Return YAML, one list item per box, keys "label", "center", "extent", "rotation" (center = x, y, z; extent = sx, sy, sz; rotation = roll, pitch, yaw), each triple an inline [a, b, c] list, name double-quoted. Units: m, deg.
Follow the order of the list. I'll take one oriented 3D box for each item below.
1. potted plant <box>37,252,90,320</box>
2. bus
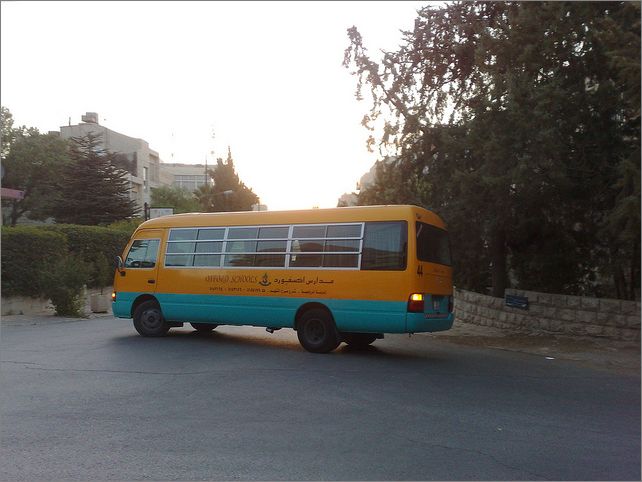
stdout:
- label: "potted plant"
  center: [-9.460, 1.697, 19.803]
  extent: [1.464, 2.304, 0.900]
  rotation: [2, -1, -31]
- label: "bus"
  center: [-1.150, 0.971, 14.050]
  extent: [8.991, 3.073, 3.074]
  rotation: [-1, -6, 27]
